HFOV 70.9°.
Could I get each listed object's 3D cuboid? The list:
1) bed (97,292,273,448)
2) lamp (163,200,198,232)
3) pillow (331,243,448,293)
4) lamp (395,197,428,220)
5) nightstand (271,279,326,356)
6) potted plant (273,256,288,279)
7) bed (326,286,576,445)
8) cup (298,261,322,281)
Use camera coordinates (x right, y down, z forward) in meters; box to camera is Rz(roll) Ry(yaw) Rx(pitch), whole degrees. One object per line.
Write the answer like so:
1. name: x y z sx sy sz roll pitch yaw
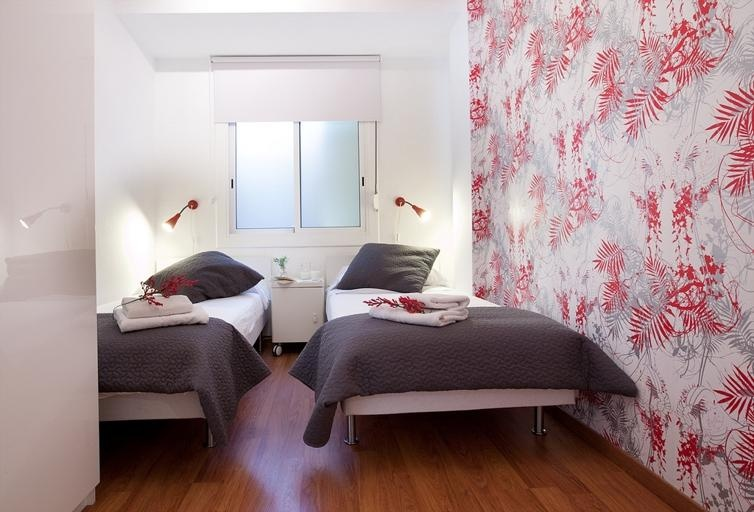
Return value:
1. bed: -1.096 0.629 2.908 0.918 0.542 0.577 1 11 4
2. lamp: -1.848 -0.387 5.000 0.312 0.282 0.224 -3 11 -15
3. pillow: 0.108 0.103 4.475 0.491 0.171 0.547 -3 29 20
4. lamp: 0.338 -0.468 5.154 0.335 0.223 0.136 3 11 14
5. nightstand: -0.718 0.548 4.919 0.605 0.876 0.556 0 -1 -6
6. potted plant: -0.936 0.096 5.068 0.147 0.184 0.149 0 11 0
7. bed: 0.357 0.508 3.709 1.346 0.776 1.995 -2 11 -7
8. cup: -0.629 0.138 4.990 0.143 0.220 0.282 0 -2 -2
